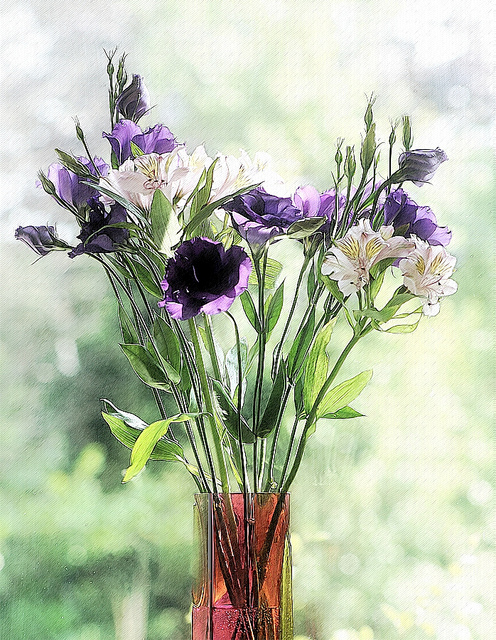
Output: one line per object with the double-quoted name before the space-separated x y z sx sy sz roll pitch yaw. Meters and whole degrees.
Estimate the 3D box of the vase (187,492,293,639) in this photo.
"vase" -0.002 0.262 0.638 0.107 0.138 0.114 4 30 -1
